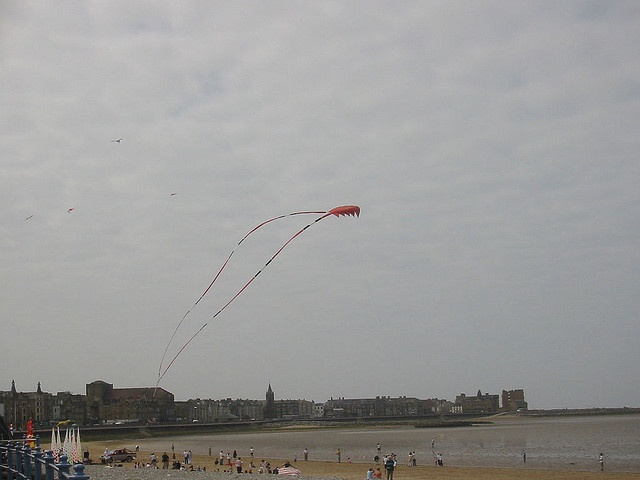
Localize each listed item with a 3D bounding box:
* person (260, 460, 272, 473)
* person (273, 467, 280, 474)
[{"bbox_3d":[-8.128,34.048,197.836,1.179,2.187,1.503,-18,-21,39],"label":"person"},{"bbox_3d":[-6.219,33.986,193.604,0.983,1.120,1.253,-4,-11,10],"label":"person"}]
